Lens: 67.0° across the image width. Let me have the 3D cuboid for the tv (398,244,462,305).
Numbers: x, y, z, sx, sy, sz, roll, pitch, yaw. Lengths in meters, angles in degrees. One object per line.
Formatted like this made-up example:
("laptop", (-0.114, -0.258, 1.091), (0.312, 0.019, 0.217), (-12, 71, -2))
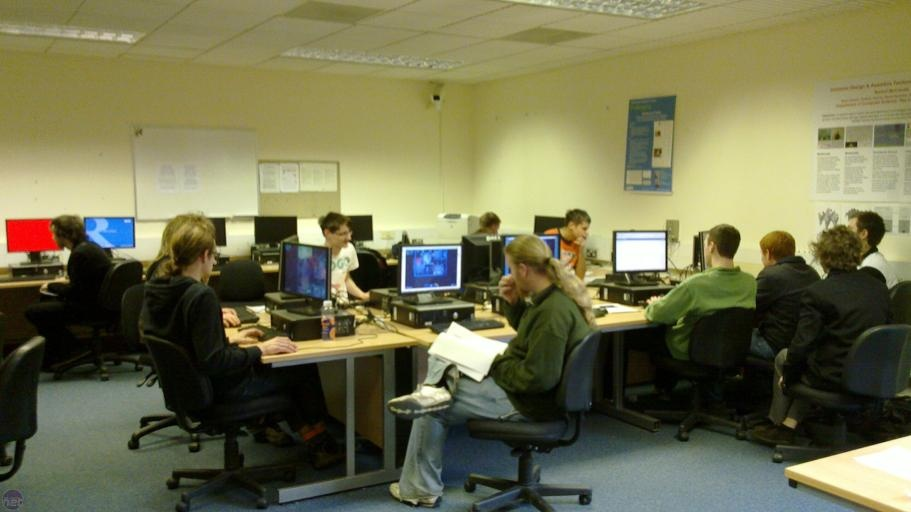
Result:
("tv", (-0.259, 0.153, 6.144), (0.619, 0.395, 0.134), (0, -2, -29))

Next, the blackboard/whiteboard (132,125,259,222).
("blackboard/whiteboard", (-3.463, -1.169, 9.028), (1.690, 1.072, 0.039), (1, 6, 5))

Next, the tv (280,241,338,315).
("tv", (-1.229, 0.183, 6.001), (0.233, 0.579, 0.737), (-2, 7, -44))

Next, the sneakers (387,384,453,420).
("sneakers", (-0.262, 1.082, 5.188), (0.581, 0.189, 0.217), (-6, 46, -11))

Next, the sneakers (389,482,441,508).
("sneakers", (-0.339, 1.912, 5.439), (0.297, 0.079, 0.189), (10, 1, 17))

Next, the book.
("book", (0.065, 0.719, 5.517), (0.553, 0.176, 0.514), (23, 21, 10))
